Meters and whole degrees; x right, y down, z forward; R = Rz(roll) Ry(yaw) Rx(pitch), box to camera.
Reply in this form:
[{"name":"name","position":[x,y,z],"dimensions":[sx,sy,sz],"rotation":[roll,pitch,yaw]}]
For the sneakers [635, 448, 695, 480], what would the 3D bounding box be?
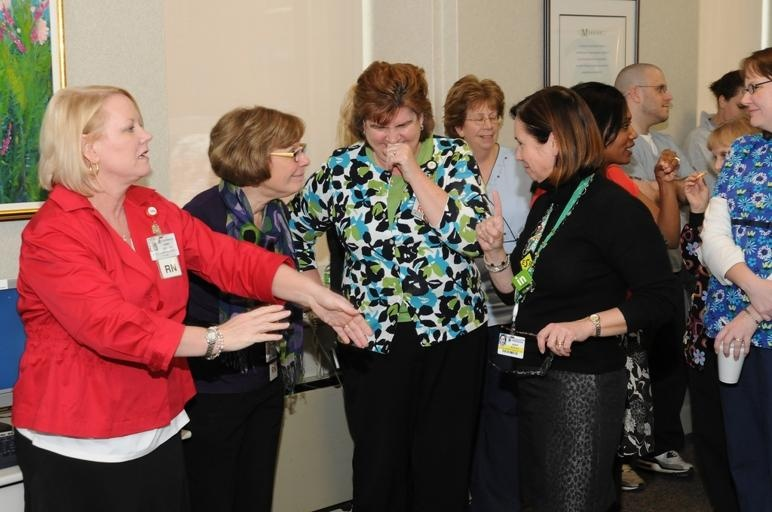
[{"name":"sneakers","position":[1.859,1.382,4.383],"dimensions":[0.331,0.156,0.135],"rotation":[1,-6,25]}]
